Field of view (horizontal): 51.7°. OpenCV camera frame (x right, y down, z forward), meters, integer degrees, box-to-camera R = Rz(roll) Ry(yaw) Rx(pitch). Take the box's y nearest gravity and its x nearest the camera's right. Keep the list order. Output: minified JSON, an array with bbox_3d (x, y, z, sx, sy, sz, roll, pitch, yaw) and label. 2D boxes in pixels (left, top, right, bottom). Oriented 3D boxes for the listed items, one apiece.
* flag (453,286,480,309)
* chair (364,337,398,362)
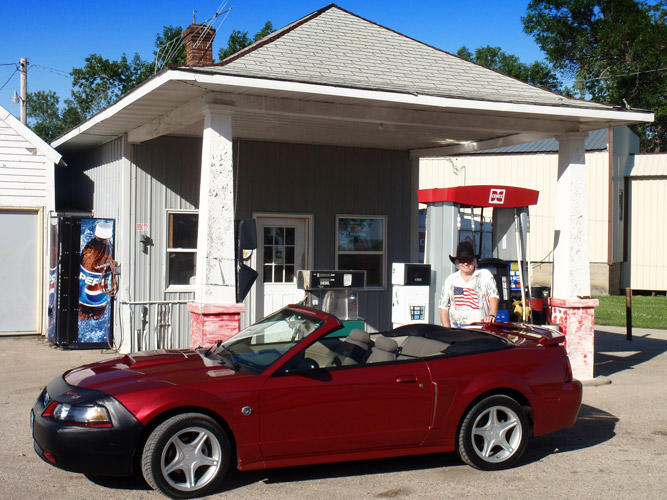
[{"bbox_3d":[1.788,0.634,9.152,0.278,0.238,0.035,5,0,20],"label":"flag"},{"bbox_3d":[0.518,1.082,7.455,0.264,0.275,0.268,13,9,44],"label":"chair"}]
